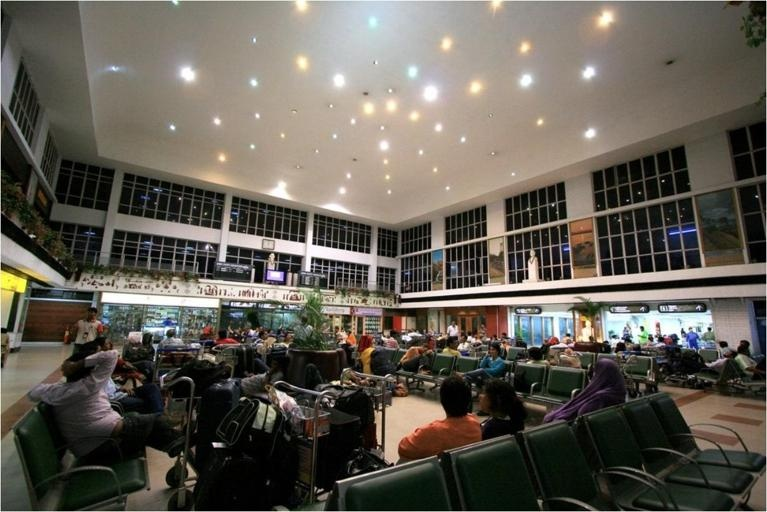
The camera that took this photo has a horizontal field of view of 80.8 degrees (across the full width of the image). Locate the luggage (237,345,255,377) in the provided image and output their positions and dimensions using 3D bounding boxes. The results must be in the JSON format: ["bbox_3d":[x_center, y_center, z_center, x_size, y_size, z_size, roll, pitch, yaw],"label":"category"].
[{"bbox_3d":[-3.365,2.570,11.040,0.456,0.720,0.311,7,-14,-24],"label":"luggage"}]

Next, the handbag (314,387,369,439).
[{"bbox_3d":[-0.699,2.949,8.606,1.066,0.471,0.852,16,-8,-33],"label":"handbag"}]

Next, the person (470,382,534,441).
[{"bbox_3d":[2.233,2.898,8.731,0.887,1.154,1.182,-7,-22,41],"label":"person"}]

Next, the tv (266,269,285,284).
[{"bbox_3d":[-6.097,1.160,25.469,0.806,0.577,0.110,4,-4,-30],"label":"tv"}]

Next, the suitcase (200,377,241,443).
[{"bbox_3d":[-3.007,2.896,8.400,0.700,1.341,0.899,2,-7,-5],"label":"suitcase"}]

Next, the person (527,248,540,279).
[{"bbox_3d":[7.612,0.467,23.109,0.513,1.737,0.539,-3,-14,20],"label":"person"}]
